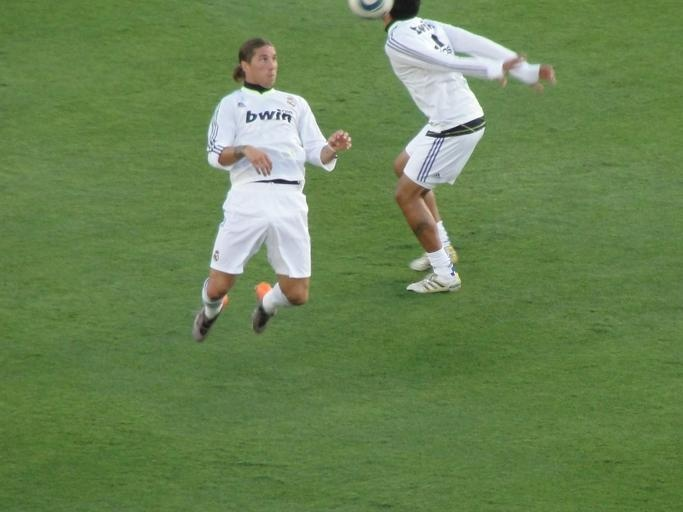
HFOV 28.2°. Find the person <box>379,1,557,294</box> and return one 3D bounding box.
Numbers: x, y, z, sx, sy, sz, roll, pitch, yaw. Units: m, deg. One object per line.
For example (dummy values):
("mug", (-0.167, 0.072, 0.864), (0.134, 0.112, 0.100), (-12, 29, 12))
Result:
("person", (0.744, -0.831, 10.672), (1.312, 2.284, 0.598), (13, 13, 4))

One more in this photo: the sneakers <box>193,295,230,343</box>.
("sneakers", (-1.066, 0.495, 10.255), (0.173, 0.454, 0.188), (35, 1, -7))

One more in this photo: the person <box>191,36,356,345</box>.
("person", (-0.562, -0.469, 9.977), (1.017, 2.205, 0.601), (11, 13, -7))

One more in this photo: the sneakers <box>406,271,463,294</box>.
("sneakers", (0.758, 0.222, 10.862), (0.509, 0.162, 0.155), (0, 3, -1))

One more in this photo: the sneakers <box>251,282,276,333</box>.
("sneakers", (-0.625, 0.389, 10.282), (0.156, 0.356, 0.183), (11, -2, -4))
